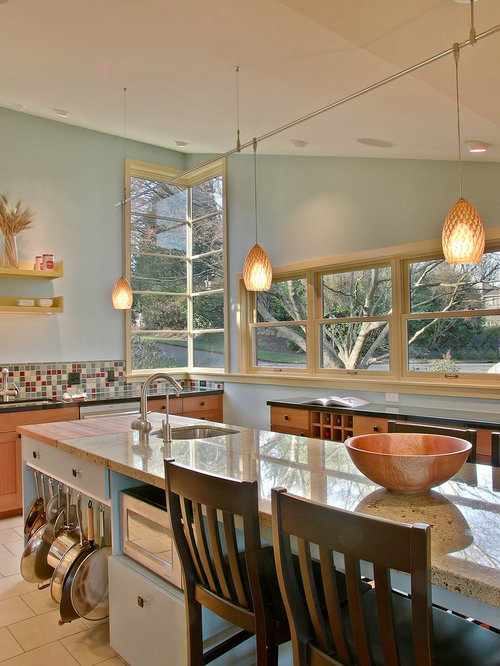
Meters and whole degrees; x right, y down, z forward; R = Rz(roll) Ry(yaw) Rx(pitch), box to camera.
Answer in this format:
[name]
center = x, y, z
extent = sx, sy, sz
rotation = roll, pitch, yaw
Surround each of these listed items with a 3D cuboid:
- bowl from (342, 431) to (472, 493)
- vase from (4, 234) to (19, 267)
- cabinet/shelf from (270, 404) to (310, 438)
[bowl]
center = 0.438, 0.348, 1.294
extent = 0.285, 0.102, 0.288
rotation = -3, -1, 0
[vase]
center = -2.135, -0.731, 4.281
extent = 0.098, 0.287, 0.062
rotation = -5, 4, -31
[cabinet/shelf]
center = 0.342, 0.626, 3.790
extent = 0.205, 0.317, 0.341
rotation = 3, -3, -40
